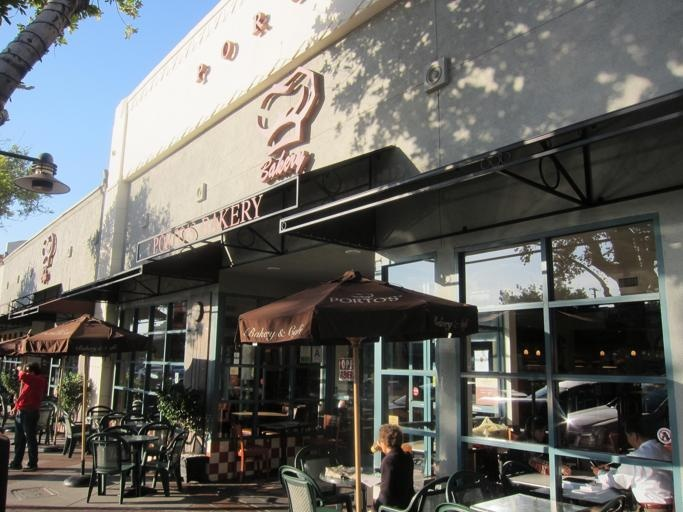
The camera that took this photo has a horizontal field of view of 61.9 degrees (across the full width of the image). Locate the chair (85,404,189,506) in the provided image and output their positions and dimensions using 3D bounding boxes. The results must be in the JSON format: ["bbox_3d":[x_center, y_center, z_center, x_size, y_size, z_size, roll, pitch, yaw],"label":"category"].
[{"bbox_3d":[-3.227,3.097,8.930,1.321,0.958,1.388,-6,-13,20],"label":"chair"}]

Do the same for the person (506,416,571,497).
[{"bbox_3d":[2.201,2.237,6.239,0.421,0.785,0.782,6,-8,-39],"label":"person"}]

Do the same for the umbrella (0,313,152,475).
[{"bbox_3d":[-4.948,2.690,11.121,2.660,2.785,2.574,-1,-3,8],"label":"umbrella"}]

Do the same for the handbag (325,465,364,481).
[{"bbox_3d":[0.023,2.591,6.763,0.341,0.112,0.340,9,-11,-40],"label":"handbag"}]
